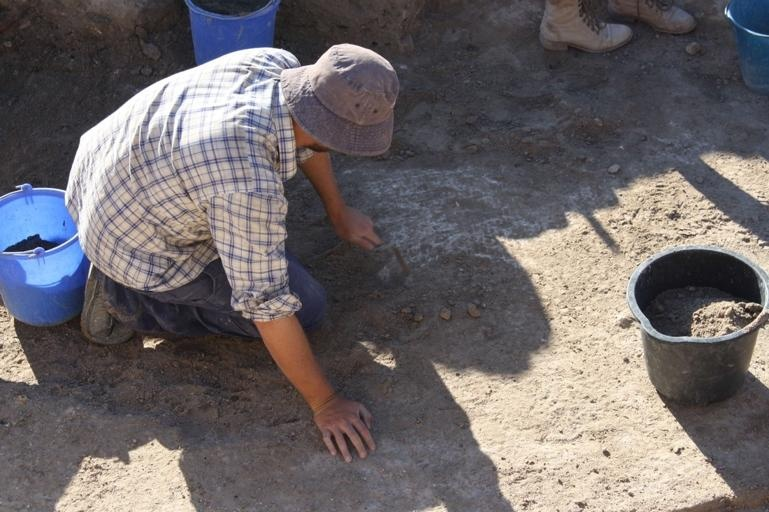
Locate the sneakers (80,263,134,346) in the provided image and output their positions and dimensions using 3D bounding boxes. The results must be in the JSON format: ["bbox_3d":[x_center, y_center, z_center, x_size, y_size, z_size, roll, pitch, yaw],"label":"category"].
[{"bbox_3d":[-1.424,0.262,4.574,0.306,0.380,0.159,-11,13,10],"label":"sneakers"}]

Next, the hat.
[{"bbox_3d":[-0.199,-0.652,3.927,0.499,0.412,0.412,-1,53,-6],"label":"hat"}]
